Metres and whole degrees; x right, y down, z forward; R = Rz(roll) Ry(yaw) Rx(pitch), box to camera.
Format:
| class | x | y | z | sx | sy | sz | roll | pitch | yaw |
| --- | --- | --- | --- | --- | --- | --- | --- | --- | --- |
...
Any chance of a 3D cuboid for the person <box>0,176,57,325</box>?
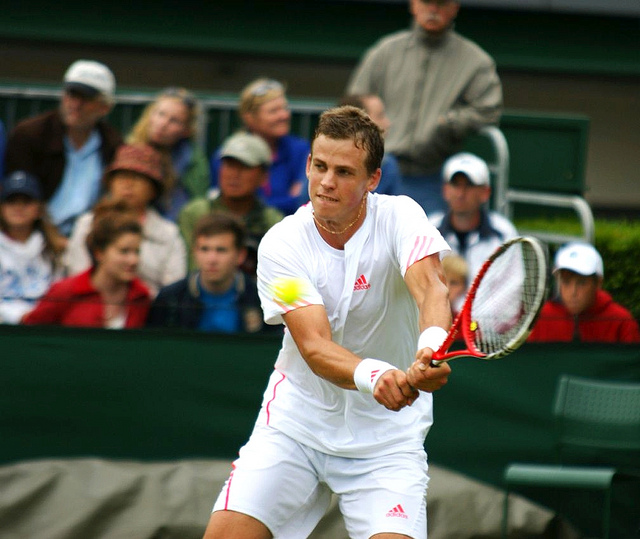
| class | x | y | z | sx | sy | sz | roll | pitch | yaw |
| --- | --- | --- | --- | --- | --- | --- | --- | --- | --- |
| person | -1.692 | -0.133 | 7.450 | 0.402 | 0.761 | 0.200 | 5 | 3 | -5 |

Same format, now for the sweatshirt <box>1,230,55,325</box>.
| class | x | y | z | sx | sy | sz | roll | pitch | yaw |
| --- | --- | --- | --- | --- | --- | --- | --- | --- | --- |
| sweatshirt | -1.703 | 0.023 | 7.413 | 0.350 | 0.493 | 0.156 | 3 | 10 | 0 |

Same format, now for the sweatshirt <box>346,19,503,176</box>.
| class | x | y | z | sx | sy | sz | roll | pitch | yaw |
| --- | --- | --- | --- | --- | --- | --- | --- | --- | --- |
| sweatshirt | 0.588 | -1.010 | 7.690 | 0.985 | 0.953 | 0.544 | 8 | -2 | 4 |

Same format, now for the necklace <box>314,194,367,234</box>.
| class | x | y | z | sx | sy | sz | roll | pitch | yaw |
| --- | --- | --- | --- | --- | --- | --- | --- | --- | --- |
| necklace | 0.093 | -0.262 | 5.986 | 0.231 | 0.189 | 0.073 | 4 | 3 | -3 |

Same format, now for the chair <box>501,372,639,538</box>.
| class | x | y | z | sx | sy | sz | roll | pitch | yaw |
| --- | --- | --- | --- | --- | --- | --- | --- | --- | --- |
| chair | 1.387 | 0.988 | 6.945 | 0.680 | 0.568 | 0.867 | 5 | 3 | 13 |

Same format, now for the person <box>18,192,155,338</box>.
| class | x | y | z | sx | sy | sz | roll | pitch | yaw |
| --- | --- | --- | --- | --- | --- | --- | --- | --- | --- |
| person | -1.364 | -0.057 | 7.323 | 0.306 | 0.890 | 0.651 | 8 | -3 | 39 |

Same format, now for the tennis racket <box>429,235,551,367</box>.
| class | x | y | z | sx | sy | sz | roll | pitch | yaw |
| --- | --- | --- | --- | --- | --- | --- | --- | --- | --- |
| tennis racket | 0.675 | 0.030 | 5.572 | 0.566 | 0.139 | 1.029 | 12 | 25 | 18 |

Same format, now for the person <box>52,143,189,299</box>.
| class | x | y | z | sx | sy | sz | roll | pitch | yaw |
| --- | --- | --- | --- | --- | --- | --- | --- | --- | --- |
| person | -1.095 | -0.108 | 7.405 | 0.697 | 1.253 | 0.655 | 3 | 6 | 40 |
